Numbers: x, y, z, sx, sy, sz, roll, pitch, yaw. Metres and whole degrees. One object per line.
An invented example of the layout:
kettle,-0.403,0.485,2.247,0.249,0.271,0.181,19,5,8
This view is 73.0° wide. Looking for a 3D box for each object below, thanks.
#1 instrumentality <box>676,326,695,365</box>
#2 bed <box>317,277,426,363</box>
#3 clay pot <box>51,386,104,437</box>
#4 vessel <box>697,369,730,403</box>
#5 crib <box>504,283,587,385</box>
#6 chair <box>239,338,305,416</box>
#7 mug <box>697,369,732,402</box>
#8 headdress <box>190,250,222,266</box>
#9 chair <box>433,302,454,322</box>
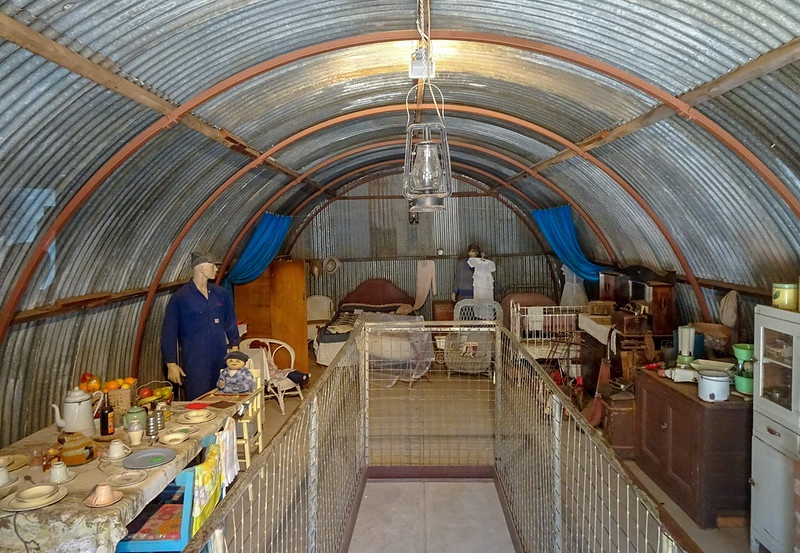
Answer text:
instrumentality,3.299,0.814,6.229,0.218,0.438,0.218,1,-1,37
bed,-0.808,0.770,11.837,1.489,0.909,2.146,-1,6,8
clay pot,-2.646,1.132,4.694,0.527,0.411,0.397,3,-4,-43
vessel,3.104,1.095,5.461,0.320,0.230,0.301,1,0,-23
crib,2.578,1.080,9.612,1.491,1.087,1.843,0,2,1
chair,-1.916,1.496,8.324,0.834,0.874,0.731,5,19,20
mug,3.117,1.080,5.404,0.320,0.229,0.304,1,0,-21
headdress,-2.179,-0.251,6.194,0.352,0.153,0.242,-9,10,-40
chair,0.956,0.745,12.279,0.660,0.510,0.410,0,2,-4
